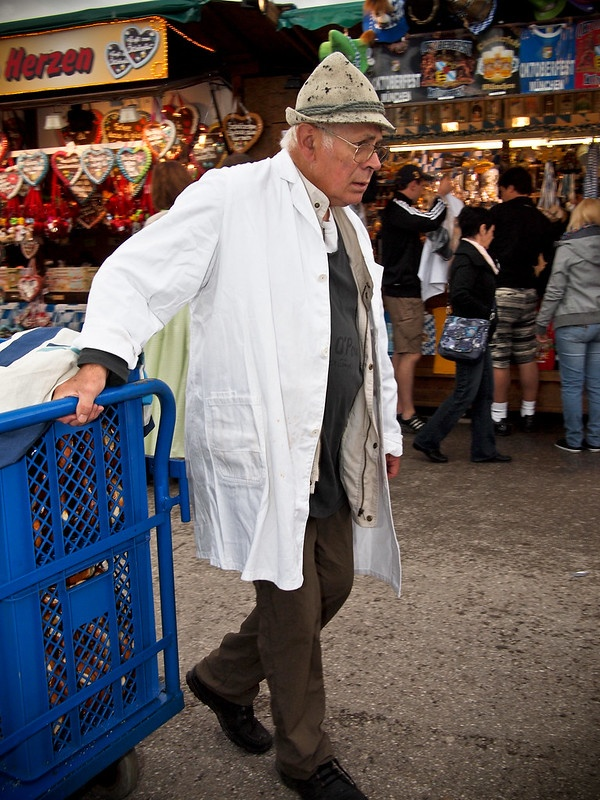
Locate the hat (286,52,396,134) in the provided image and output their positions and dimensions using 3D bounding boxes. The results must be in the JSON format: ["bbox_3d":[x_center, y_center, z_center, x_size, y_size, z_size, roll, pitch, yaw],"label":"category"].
[{"bbox_3d":[0.125,-0.819,1.758,0.322,0.179,0.319,-13,29,-11],"label":"hat"}]

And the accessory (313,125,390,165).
[{"bbox_3d":[0.125,-0.662,1.721,0.152,0.046,0.151,33,25,27],"label":"accessory"}]

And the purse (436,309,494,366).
[{"bbox_3d":[1.313,-0.486,5.210,0.322,0.370,0.397,5,12,27],"label":"purse"}]

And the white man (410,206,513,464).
[{"bbox_3d":[1.346,-0.483,5.303,0.657,2.061,0.524,-7,13,-30],"label":"white man"}]
